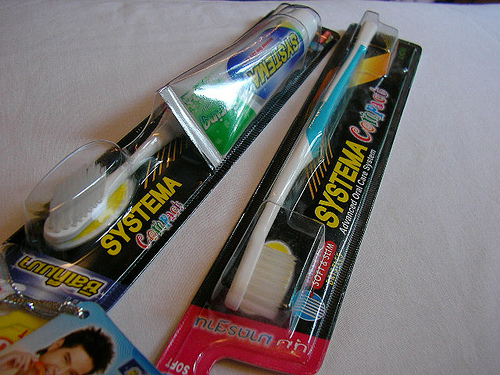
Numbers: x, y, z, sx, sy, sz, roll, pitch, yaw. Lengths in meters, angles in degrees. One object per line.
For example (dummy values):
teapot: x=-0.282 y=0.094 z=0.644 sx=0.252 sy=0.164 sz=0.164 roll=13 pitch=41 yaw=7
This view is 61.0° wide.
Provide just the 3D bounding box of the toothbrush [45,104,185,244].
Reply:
toothbrush: x=-0.200 y=-0.040 z=0.730 sx=0.100 sy=0.333 sz=0.056 roll=36 pitch=-40 yaw=2

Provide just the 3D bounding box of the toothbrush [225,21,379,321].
toothbrush: x=0.130 y=-0.089 z=0.766 sx=0.081 sy=0.686 sz=0.108 roll=21 pitch=-37 yaw=9

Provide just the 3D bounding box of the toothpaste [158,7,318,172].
toothpaste: x=-0.027 y=-0.207 z=0.857 sx=0.179 sy=0.366 sz=0.083 roll=50 pitch=-32 yaw=-13
